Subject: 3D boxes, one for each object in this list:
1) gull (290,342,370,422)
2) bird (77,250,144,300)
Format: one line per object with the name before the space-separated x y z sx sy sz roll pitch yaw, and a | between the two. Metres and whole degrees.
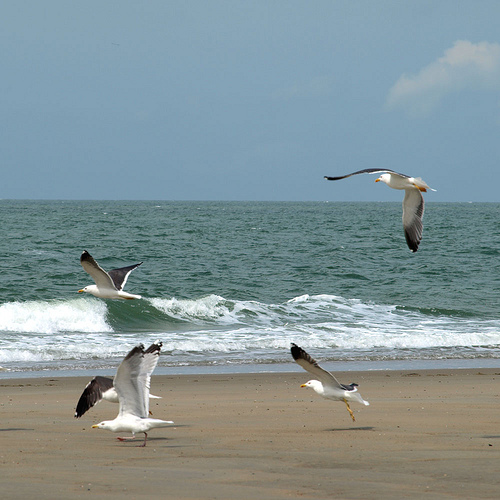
gull | 1.165 1.877 18.209 0.967 0.913 1.179 2 3 5
bird | -2.386 0.629 20.946 1.105 0.419 1.720 -2 -12 -7
